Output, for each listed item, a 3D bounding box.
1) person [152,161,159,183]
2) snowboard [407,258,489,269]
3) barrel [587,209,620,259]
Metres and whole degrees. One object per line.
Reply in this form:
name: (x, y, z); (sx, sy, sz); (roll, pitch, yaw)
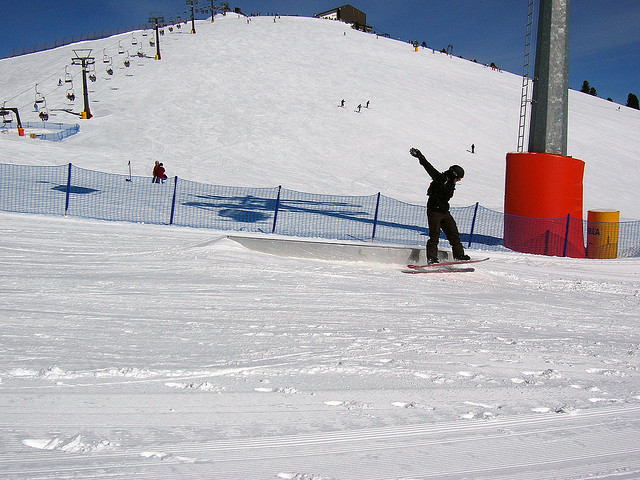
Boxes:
person: (-5.612, -2.364, 30.993); (0.220, 0.745, 0.709); (5, 0, -11)
snowboard: (2.863, 0.529, 21.185); (2.166, 0.068, 0.239); (-3, -2, -10)
barrel: (7.792, -0.173, 25.222); (0.914, 1.292, 0.621); (4, -1, 24)
